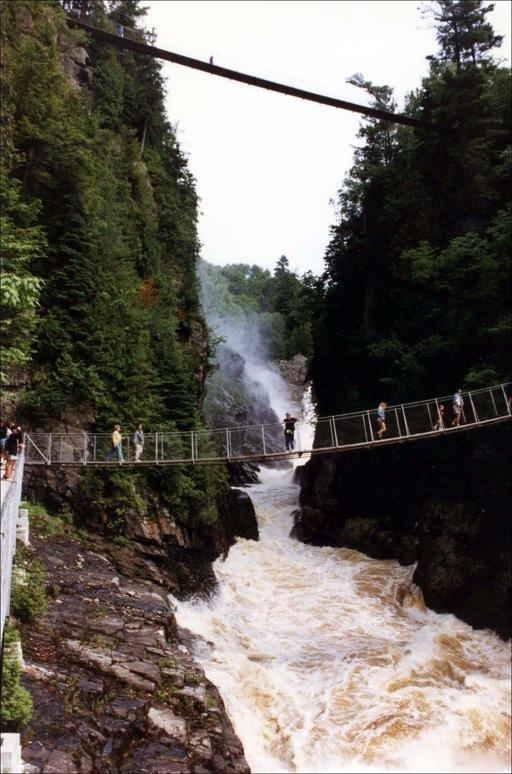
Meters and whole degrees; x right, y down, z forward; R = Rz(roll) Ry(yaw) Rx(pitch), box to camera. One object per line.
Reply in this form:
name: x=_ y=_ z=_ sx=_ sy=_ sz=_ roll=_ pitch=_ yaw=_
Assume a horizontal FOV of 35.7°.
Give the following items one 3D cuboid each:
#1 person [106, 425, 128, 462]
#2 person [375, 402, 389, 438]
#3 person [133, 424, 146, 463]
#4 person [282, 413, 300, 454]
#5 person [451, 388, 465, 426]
person: x=-3.948 y=1.621 z=22.607 sx=0.520 sy=1.042 sz=0.548 roll=3 pitch=7 yaw=-27
person: x=3.709 y=1.030 z=23.663 sx=0.469 sy=1.264 sz=0.408 roll=-9 pitch=31 yaw=-3
person: x=-3.387 y=1.640 z=22.894 sx=0.326 sy=0.957 sz=0.745 roll=4 pitch=7 yaw=-14
person: x=0.941 y=1.299 z=23.036 sx=0.412 sy=1.089 sz=0.986 roll=6 pitch=6 yaw=1
person: x=5.802 y=0.634 z=23.056 sx=0.394 sy=1.217 sz=0.587 roll=1 pitch=28 yaw=12
